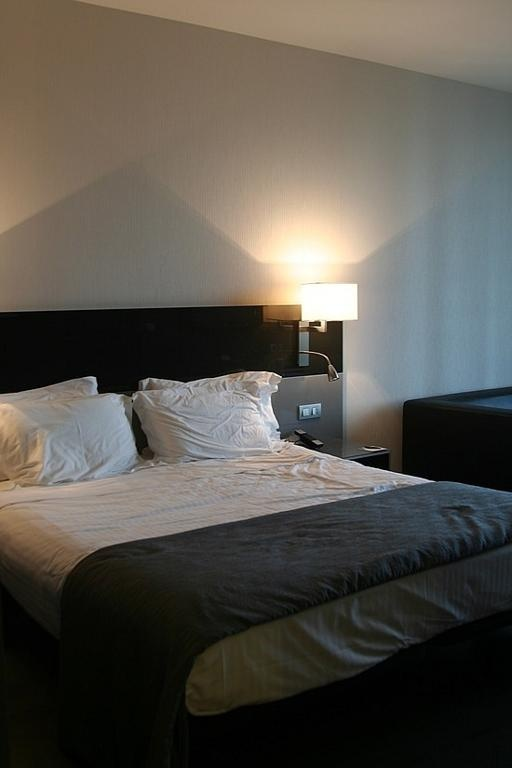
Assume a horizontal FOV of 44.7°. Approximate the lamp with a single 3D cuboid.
[{"bbox_3d":[0.384,-0.306,3.653,0.331,0.591,0.303,3,2,3],"label":"lamp"}]
